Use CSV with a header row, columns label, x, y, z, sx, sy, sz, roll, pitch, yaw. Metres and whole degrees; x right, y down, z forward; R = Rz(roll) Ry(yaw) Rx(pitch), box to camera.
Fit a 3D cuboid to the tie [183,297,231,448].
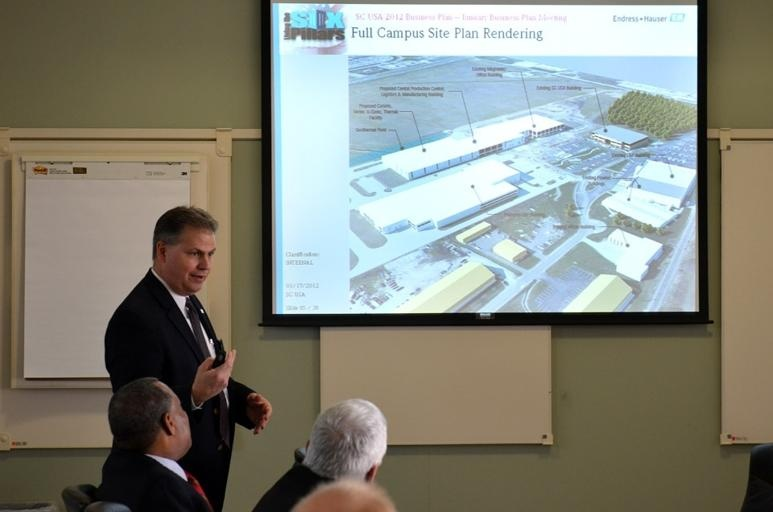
label,x,y,z,sx,sy,sz,roll,pitch,yaw
tie,-0.978,0.569,3.153,0.166,0.936,0.195,-2,-12,-23
